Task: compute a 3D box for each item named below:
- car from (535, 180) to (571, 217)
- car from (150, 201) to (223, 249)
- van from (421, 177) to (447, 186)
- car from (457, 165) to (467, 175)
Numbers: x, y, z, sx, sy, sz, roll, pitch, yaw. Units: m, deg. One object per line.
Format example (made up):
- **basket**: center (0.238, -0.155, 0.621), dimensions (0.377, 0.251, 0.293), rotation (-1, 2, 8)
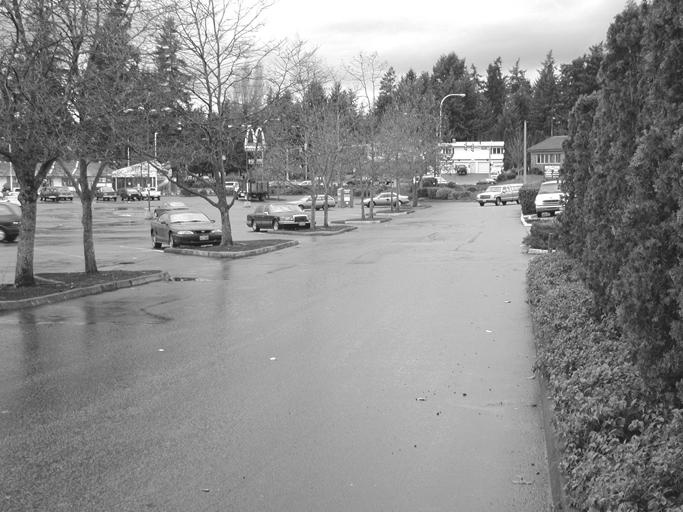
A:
- **car**: center (11.859, -3.229, 39.585), dimensions (1.210, 2.054, 4.408), rotation (1, 7, 12)
- **car**: center (-7.225, -1.365, 30.892), dimensions (1.648, 1.397, 3.593), rotation (-2, 2, -27)
- **van**: center (11.765, -9.590, 88.696), dimensions (2.556, 1.520, 2.870), rotation (0, 5, 8)
- **car**: center (19.980, -13.971, 113.233), dimensions (1.755, 1.515, 0.934), rotation (-4, 7, -30)
